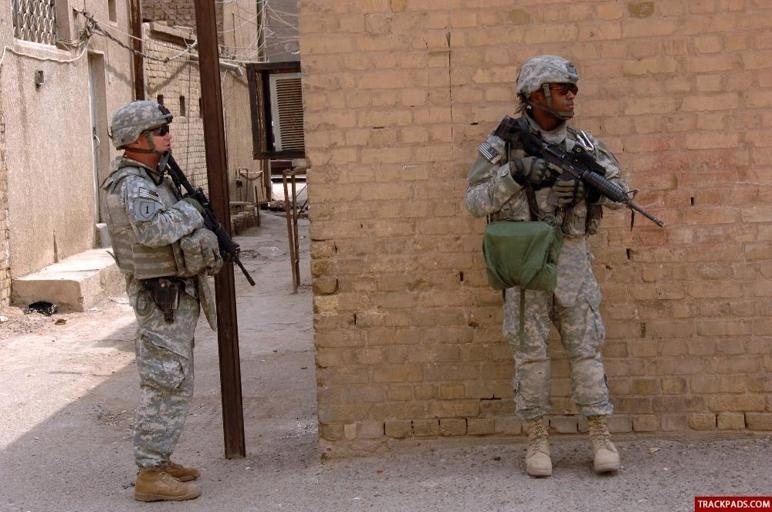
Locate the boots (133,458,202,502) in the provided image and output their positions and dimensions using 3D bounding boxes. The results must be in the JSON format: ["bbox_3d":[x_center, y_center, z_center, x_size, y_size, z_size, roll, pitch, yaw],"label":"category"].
[{"bbox_3d":[-1.606,1.660,6.229,0.640,0.256,0.247,-1,5,-6],"label":"boots"}]

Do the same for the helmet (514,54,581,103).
[{"bbox_3d":[1.113,-1.268,5.994,0.401,0.225,0.160,-3,12,6],"label":"helmet"}]

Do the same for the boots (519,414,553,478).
[{"bbox_3d":[1.094,1.357,6.184,0.282,0.315,0.573,1,5,9],"label":"boots"}]

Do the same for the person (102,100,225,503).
[{"bbox_3d":[-1.624,0.325,6.489,1.088,2.879,1.037,-1,-1,-17],"label":"person"}]

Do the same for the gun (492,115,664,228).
[{"bbox_3d":[1.322,-0.634,6.136,1.251,0.404,0.137,33,-14,4],"label":"gun"}]

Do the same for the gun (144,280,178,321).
[{"bbox_3d":[-1.585,0.302,6.077,0.234,0.288,0.126,-3,6,4],"label":"gun"}]

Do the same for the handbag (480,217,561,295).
[{"bbox_3d":[0.937,0.003,5.924,0.526,0.453,0.216,-2,12,10],"label":"handbag"}]

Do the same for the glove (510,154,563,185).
[{"bbox_3d":[1.030,-0.579,5.936,0.338,0.207,0.163,-2,12,10],"label":"glove"}]
